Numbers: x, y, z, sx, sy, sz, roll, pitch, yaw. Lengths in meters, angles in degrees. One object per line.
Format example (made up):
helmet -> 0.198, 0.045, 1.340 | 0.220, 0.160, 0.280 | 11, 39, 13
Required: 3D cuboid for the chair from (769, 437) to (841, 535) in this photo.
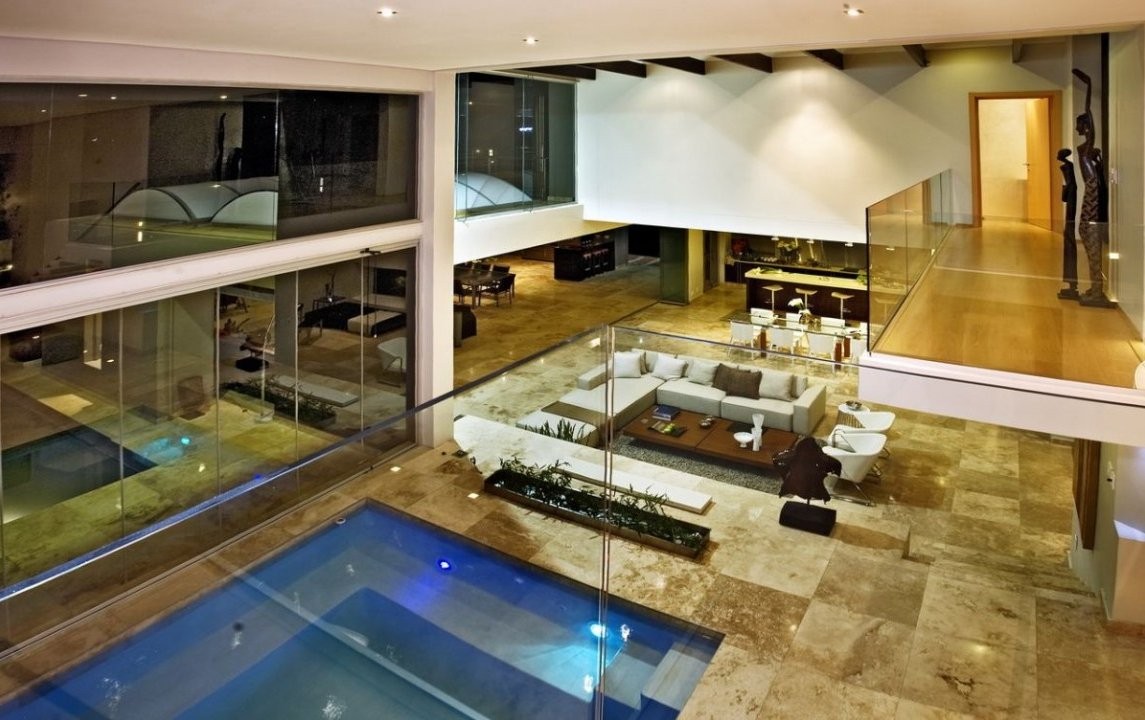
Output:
chair -> 3.683, 1.947, 11.304 | 1.056, 1.279, 0.724 | 12, 26, 19
